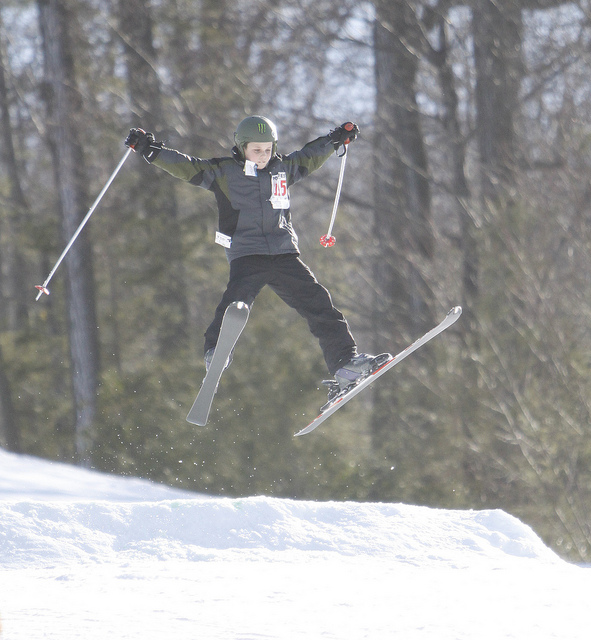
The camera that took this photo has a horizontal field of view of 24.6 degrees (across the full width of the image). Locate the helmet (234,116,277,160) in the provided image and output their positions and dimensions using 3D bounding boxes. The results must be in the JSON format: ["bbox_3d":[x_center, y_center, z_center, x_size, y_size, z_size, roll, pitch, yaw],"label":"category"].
[{"bbox_3d":[-0.350,-1.877,13.926,0.397,0.404,0.400,-3,2,-30],"label":"helmet"}]

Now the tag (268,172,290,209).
[{"bbox_3d":[-0.161,-1.325,13.999,0.228,0.352,0.119,9,2,-9],"label":"tag"}]

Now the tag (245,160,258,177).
[{"bbox_3d":[-0.455,-1.541,13.922,0.130,0.153,0.037,9,2,-9],"label":"tag"}]
